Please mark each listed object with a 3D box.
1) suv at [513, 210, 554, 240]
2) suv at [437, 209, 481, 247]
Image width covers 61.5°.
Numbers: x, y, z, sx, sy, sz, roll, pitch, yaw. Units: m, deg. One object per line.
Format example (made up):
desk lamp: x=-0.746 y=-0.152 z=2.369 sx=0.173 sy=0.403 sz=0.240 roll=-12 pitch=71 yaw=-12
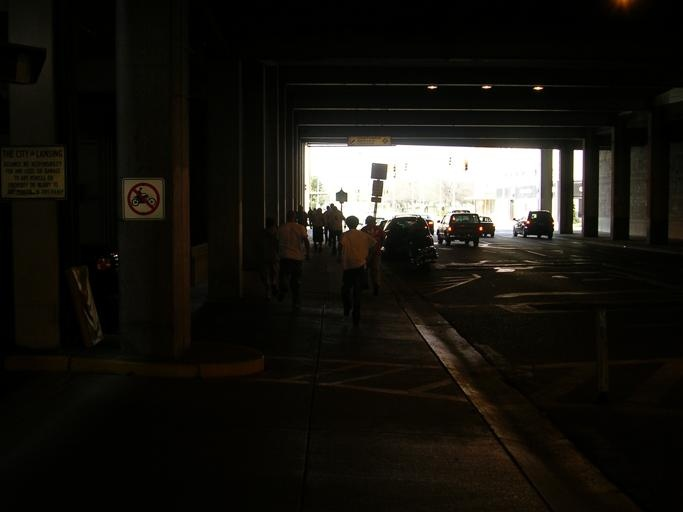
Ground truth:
suv: x=15.066 y=-2.454 z=44.913 sx=1.765 sy=1.775 sz=3.071 roll=0 pitch=8 yaw=1
suv: x=7.749 y=-1.897 z=37.386 sx=1.937 sy=2.383 sz=4.652 roll=-1 pitch=6 yaw=8
